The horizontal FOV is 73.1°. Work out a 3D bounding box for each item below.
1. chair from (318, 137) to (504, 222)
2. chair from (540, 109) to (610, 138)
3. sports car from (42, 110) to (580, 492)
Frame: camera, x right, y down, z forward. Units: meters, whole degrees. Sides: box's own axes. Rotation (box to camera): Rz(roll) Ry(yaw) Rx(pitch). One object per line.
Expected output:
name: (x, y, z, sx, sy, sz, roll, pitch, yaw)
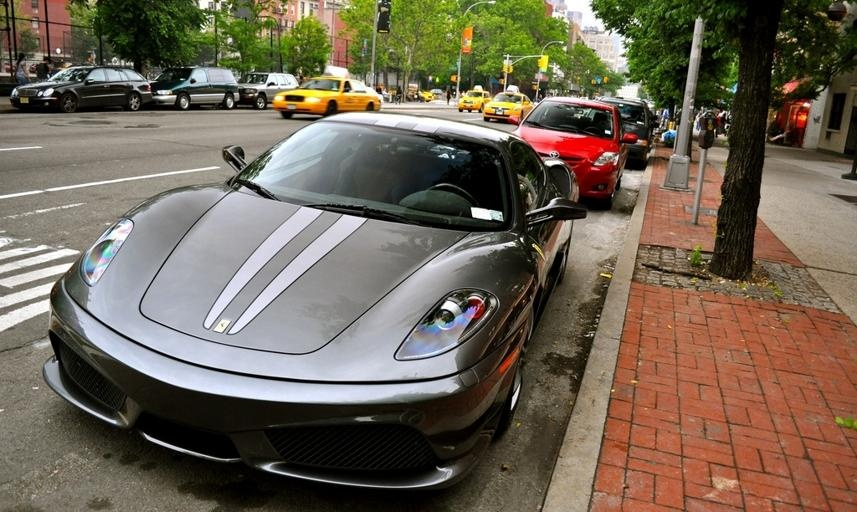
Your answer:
chair: (-0.016, -0.707, 5.019, 0.744, 0.352, 1.180, 14, 28, 4)
chair: (3.248, -2.831, 12.353, 0.766, 0.518, 1.281, 23, 23, 34)
sports car: (-0.763, 0.316, 4.378, 3.585, 2.224, 2.519, -7, 21, -26)
